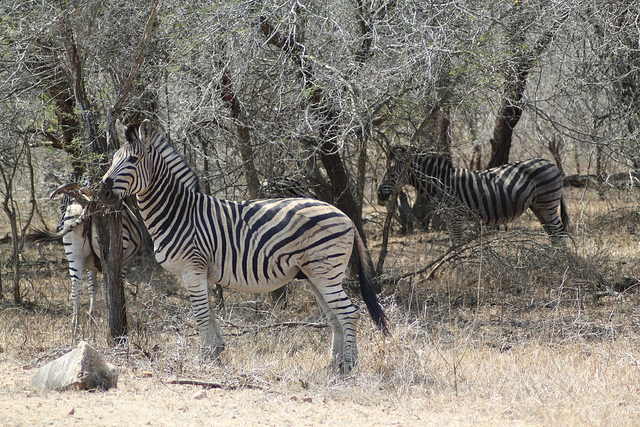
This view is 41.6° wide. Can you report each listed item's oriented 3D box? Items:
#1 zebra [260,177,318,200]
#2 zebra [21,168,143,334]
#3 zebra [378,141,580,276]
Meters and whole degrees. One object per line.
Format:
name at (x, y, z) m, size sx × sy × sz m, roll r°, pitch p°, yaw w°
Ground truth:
zebra at (-0.550, -0.443, 14.061) m, size 0.622 × 0.214 × 0.519 m, roll 3°, pitch 17°, yaw 1°
zebra at (-4.242, 0.254, 14.754) m, size 0.958 × 2.770 × 4.109 m, roll 1°, pitch 10°, yaw -31°
zebra at (3.026, -0.250, 15.922) m, size 3.829 × 2.572 × 1.119 m, roll -8°, pitch 15°, yaw -8°
